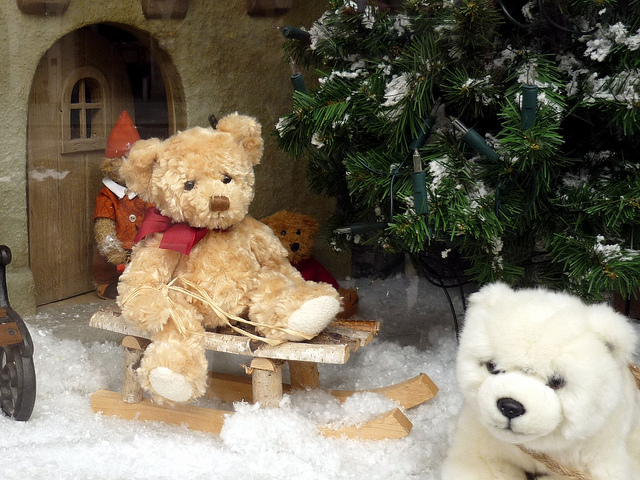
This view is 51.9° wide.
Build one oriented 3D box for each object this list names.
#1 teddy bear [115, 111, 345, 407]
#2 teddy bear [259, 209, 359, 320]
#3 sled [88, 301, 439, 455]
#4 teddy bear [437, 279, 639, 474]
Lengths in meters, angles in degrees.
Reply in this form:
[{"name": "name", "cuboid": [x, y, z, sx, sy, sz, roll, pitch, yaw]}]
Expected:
[{"name": "teddy bear", "cuboid": [-0.384, 0.043, 2.468, 0.715, 1.112, 0.733, 0, 19, -17]}, {"name": "teddy bear", "cuboid": [-0.081, 0.049, 3.199, 0.413, 0.534, 0.393, -1, 18, -20]}, {"name": "sled", "cuboid": [-0.329, 0.488, 2.706, 1.229, 0.510, 0.840, -1, 16, -21]}, {"name": "teddy bear", "cuboid": [0.663, 0.369, 1.922, 0.427, 0.427, 0.584, 3, 13, 30]}]
